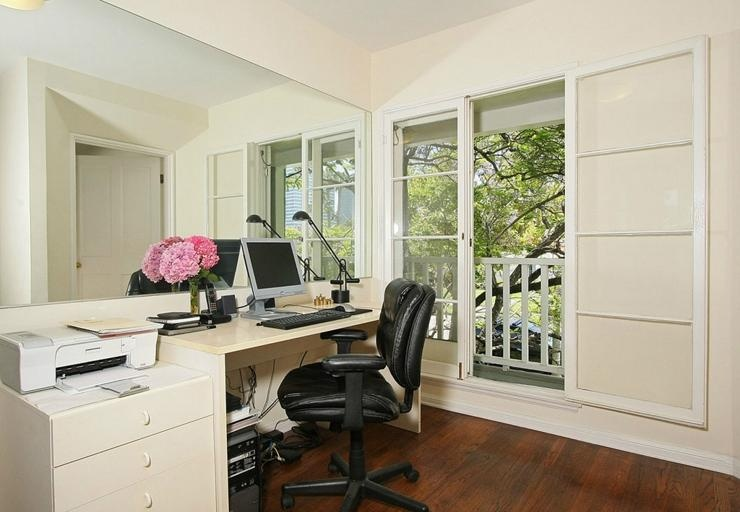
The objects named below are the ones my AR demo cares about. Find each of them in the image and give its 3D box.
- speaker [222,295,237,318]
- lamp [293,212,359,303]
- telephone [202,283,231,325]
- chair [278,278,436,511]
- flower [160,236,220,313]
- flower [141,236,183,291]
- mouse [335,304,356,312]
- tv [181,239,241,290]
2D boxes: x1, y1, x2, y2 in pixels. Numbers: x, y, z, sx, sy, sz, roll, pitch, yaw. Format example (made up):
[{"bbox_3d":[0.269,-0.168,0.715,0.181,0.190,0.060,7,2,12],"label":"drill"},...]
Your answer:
[{"bbox_3d":[-0.886,0.306,3.274,0.109,0.194,0.143,1,0,-12],"label":"speaker"},{"bbox_3d":[-0.405,0.041,4.239,0.737,0.864,0.450,2,-2,1],"label":"lamp"},{"bbox_3d":[-0.961,0.289,3.214,0.213,0.239,0.142,-8,8,11],"label":"telephone"},{"bbox_3d":[0.003,0.883,3.618,1.195,1.724,1.330,2,-5,-4],"label":"chair"},{"bbox_3d":[-1.069,0.117,3.347,0.404,0.512,0.461,-3,1,12],"label":"flower"},{"bbox_3d":[-1.264,0.048,3.160,0.259,0.302,0.108,1,-7,7],"label":"flower"},{"bbox_3d":[-0.170,0.344,3.455,0.085,0.027,0.058,1,-1,41],"label":"mouse"},{"bbox_3d":[-1.066,0.047,3.468,0.128,0.284,0.396,7,3,34],"label":"tv"}]
